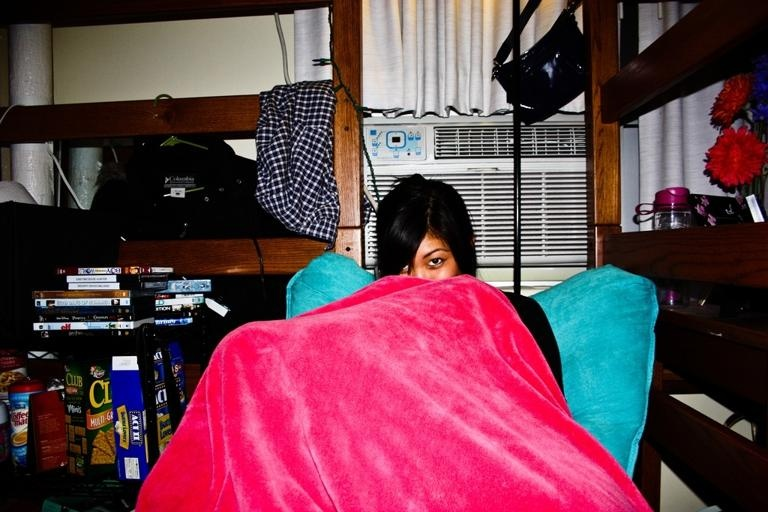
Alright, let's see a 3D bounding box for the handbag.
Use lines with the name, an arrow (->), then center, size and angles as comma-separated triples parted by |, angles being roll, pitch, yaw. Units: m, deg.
handbag -> 0.599, -0.693, 2.488 | 0.515, 0.533, 0.341 | -2, 24, 14
